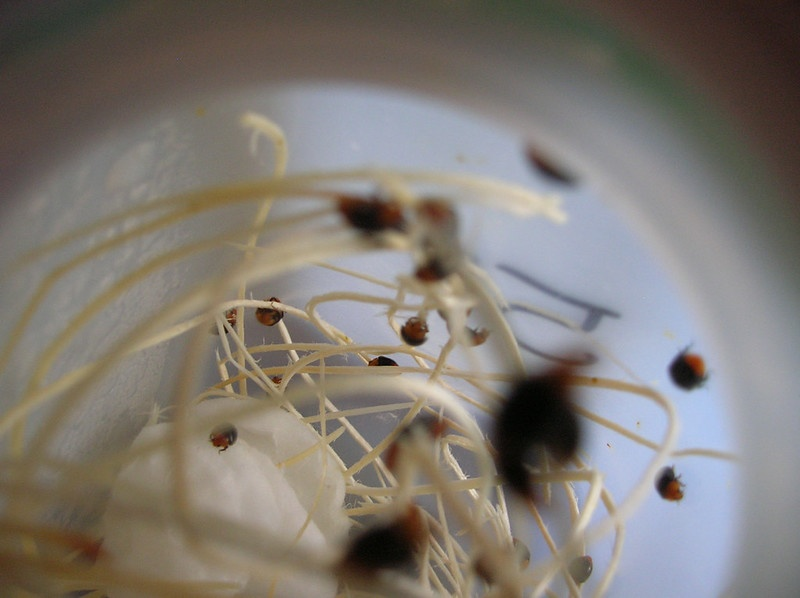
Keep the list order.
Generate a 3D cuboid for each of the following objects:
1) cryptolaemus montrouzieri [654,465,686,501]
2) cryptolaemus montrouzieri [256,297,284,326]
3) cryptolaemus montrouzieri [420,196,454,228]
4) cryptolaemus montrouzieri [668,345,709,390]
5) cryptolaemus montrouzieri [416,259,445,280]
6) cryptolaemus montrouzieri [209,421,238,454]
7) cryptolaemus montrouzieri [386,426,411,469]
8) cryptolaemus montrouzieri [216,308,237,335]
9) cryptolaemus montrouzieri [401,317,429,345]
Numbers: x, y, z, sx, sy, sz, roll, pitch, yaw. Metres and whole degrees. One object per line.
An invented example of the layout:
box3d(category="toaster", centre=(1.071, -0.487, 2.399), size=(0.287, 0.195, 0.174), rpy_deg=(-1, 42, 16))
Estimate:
box3d(category="cryptolaemus montrouzieri", centre=(0.262, 0.180, 1.061), size=(0.026, 0.033, 0.011), rpy_deg=(-38, 10, 15))
box3d(category="cryptolaemus montrouzieri", centre=(-0.131, 0.014, 1.084), size=(0.029, 0.014, 0.090), rpy_deg=(-2, -14, -4))
box3d(category="cryptolaemus montrouzieri", centre=(0.032, -0.076, 0.956), size=(0.034, 0.028, 0.036), rpy_deg=(3, -13, -3))
box3d(category="cryptolaemus montrouzieri", centre=(0.278, 0.063, 1.048), size=(0.048, 0.017, 0.052), rpy_deg=(-2, 22, 8))
box3d(category="cryptolaemus montrouzieri", centre=(0.025, -0.022, 0.921), size=(0.017, 0.019, 0.017), rpy_deg=(-6, 20, -18))
box3d(category="cryptolaemus montrouzieri", centre=(-0.159, 0.125, 0.990), size=(0.025, 0.020, 0.010), rpy_deg=(-40, -7, -11))
box3d(category="cryptolaemus montrouzieri", centre=(-0.004, 0.143, 1.026), size=(0.017, 0.052, 0.015), rpy_deg=(25, 32, 27))
box3d(category="cryptolaemus montrouzieri", centre=(-0.168, 0.022, 1.057), size=(0.011, 0.018, 0.028), rpy_deg=(15, 17, 28))
box3d(category="cryptolaemus montrouzieri", centre=(0.013, 0.029, 1.003), size=(0.025, 0.023, 0.025), rpy_deg=(10, -13, -1))
